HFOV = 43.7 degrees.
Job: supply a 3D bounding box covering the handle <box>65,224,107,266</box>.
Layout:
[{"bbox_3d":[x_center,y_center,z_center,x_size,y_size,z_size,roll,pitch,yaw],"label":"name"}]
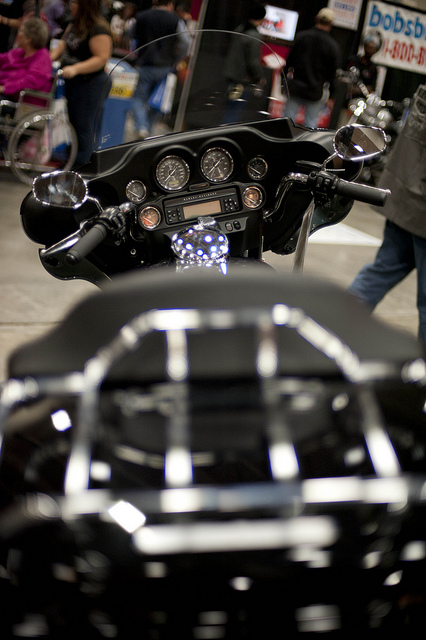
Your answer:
[{"bbox_3d":[-0.348,-0.206,1.462,0.041,0.040,0.152,41,52,-7],"label":"handle"}]
